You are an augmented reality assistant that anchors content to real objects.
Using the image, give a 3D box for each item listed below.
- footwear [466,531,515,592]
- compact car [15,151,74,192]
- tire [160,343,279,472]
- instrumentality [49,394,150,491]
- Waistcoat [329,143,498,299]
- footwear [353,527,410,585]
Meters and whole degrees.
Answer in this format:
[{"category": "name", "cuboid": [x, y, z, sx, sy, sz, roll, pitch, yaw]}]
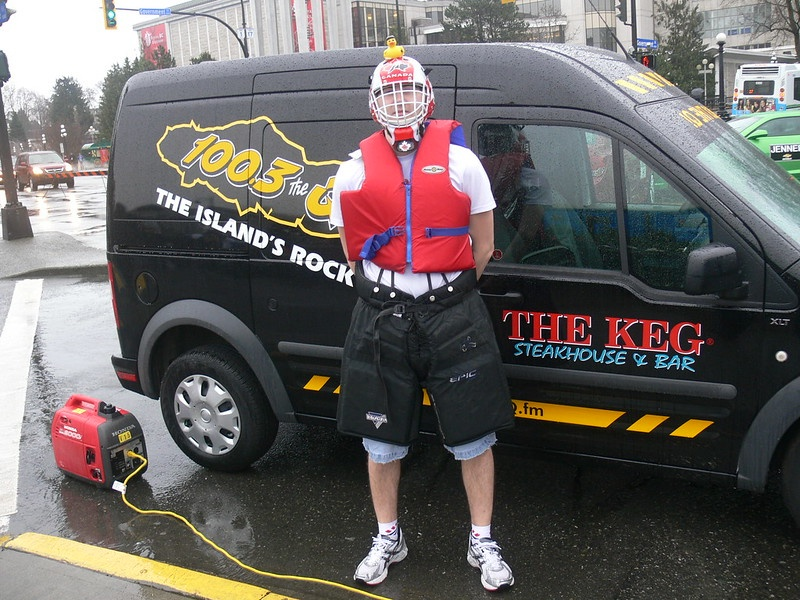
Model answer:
[{"category": "footwear", "cuboid": [0.446, 1.283, 3.107, 0.140, 0.151, 0.314, -2, 6, -19]}, {"category": "compact car", "cuboid": [-19.165, -6.918, 33.222, 2.359, 1.980, 3.578, -14, 18, -37]}, {"category": "tire", "cuboid": [-1.228, 0.716, 4.152, 0.762, 0.852, 0.289, 10, 18, 19]}, {"category": "instrumentality", "cuboid": [-2.079, 0.923, 4.233, 0.517, 0.595, 0.364, 8, 16, 15]}, {"category": "Waistcoat", "cuboid": [0.122, -0.280, 2.908, 0.667, 0.697, 0.668, -2, 4, 26]}, {"category": "footwear", "cuboid": [-0.092, 1.300, 3.200, 0.150, 0.176, 0.368, 1, 12, 33]}]
